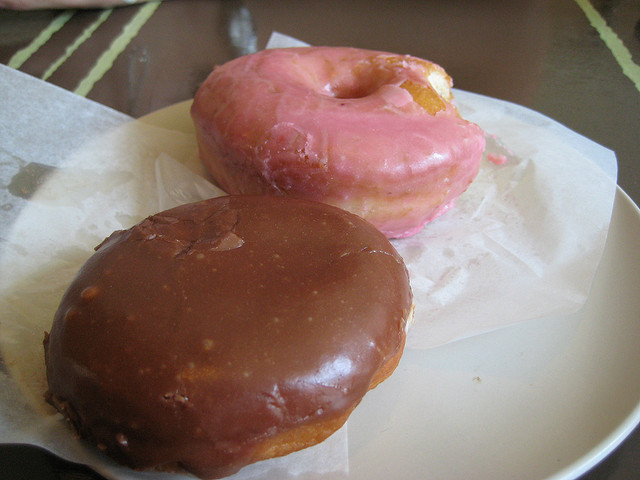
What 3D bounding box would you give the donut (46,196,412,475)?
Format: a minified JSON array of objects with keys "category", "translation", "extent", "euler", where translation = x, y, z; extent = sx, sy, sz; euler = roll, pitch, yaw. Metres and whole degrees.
[{"category":"donut","translation":[-0.163,0.146,1.248],"extent":[0.602,0.159,0.544],"euler":[13,60,6]}]
